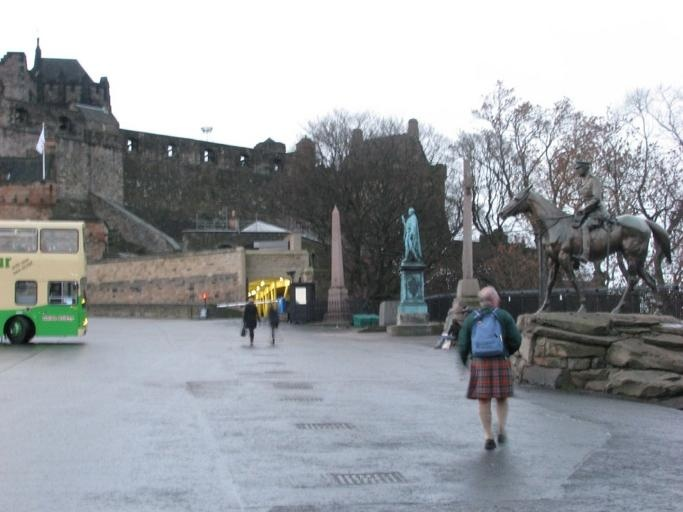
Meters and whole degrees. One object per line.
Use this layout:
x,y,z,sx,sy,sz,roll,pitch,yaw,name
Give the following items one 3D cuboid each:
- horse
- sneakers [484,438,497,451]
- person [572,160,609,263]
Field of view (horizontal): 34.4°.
6.006,0.006,27.029,4.027,3.083,1.004,0,-8,9,horse
2.642,3.354,19.516,0.107,0.144,0.275,0,3,1,sneakers
6.024,-1.105,26.590,0.726,2.463,0.889,1,-1,13,person
